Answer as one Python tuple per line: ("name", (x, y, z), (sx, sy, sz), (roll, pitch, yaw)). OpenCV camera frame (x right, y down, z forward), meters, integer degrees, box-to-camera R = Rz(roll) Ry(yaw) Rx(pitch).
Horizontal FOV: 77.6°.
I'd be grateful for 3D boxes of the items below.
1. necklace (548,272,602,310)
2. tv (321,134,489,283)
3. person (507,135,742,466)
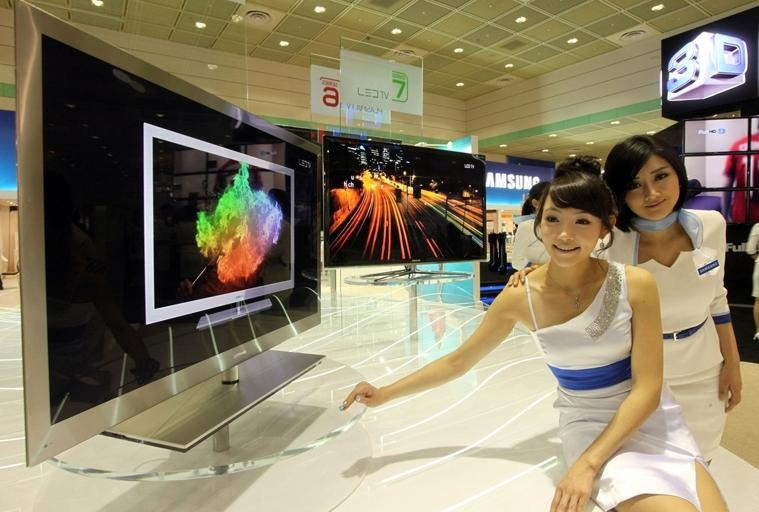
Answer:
("necklace", (0.772, 0.140, 1.859), (0.152, 0.126, 0.045), (-5, -3, 5))
("tv", (0.220, -0.291, 3.383), (1.545, 0.973, 0.441), (-3, 5, -38))
("person", (1.280, 0.502, 2.404), (1.011, 2.054, 0.486), (-12, 18, 7))
